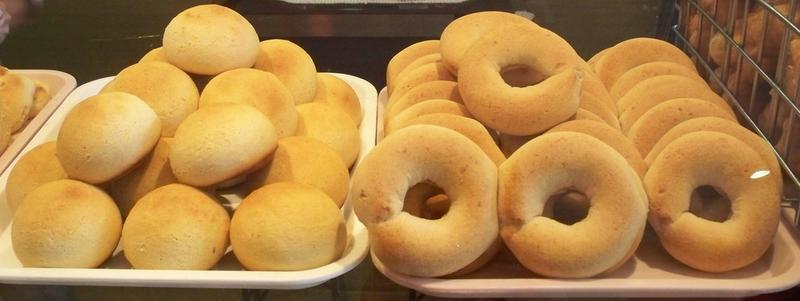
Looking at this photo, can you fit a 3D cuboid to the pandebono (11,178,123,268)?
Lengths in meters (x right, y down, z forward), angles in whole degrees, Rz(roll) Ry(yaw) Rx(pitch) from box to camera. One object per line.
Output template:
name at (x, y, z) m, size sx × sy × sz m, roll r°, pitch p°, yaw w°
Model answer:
pandebono at (-1.261, 0.269, 2.215) m, size 0.406 × 0.259 × 0.375 m, roll 4°, pitch 27°, yaw -34°
